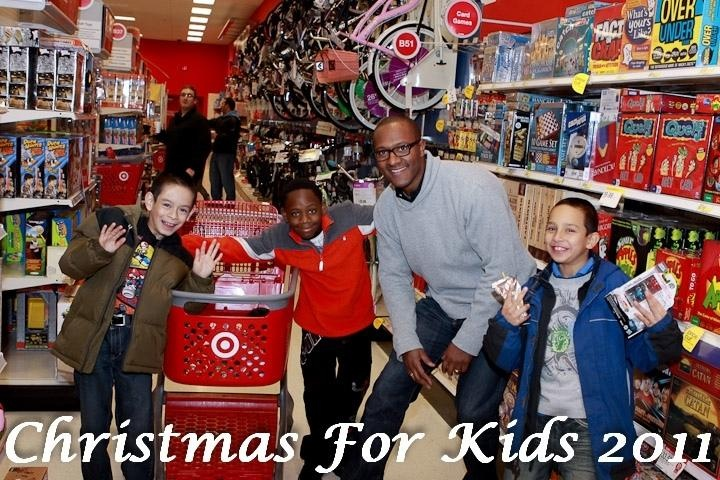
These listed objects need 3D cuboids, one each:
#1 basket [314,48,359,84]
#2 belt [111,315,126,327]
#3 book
[{"bbox_3d":[-0.252,-1.840,4.679,0.430,0.332,0.256,-18,23,-40],"label":"basket"},{"bbox_3d":[-1.191,0.390,2.179,0.068,0.057,0.068,4,-1,-1],"label":"belt"},{"bbox_3d":[1.026,-0.087,2.362,0.169,0.499,0.532,-10,10,-30],"label":"book"}]
